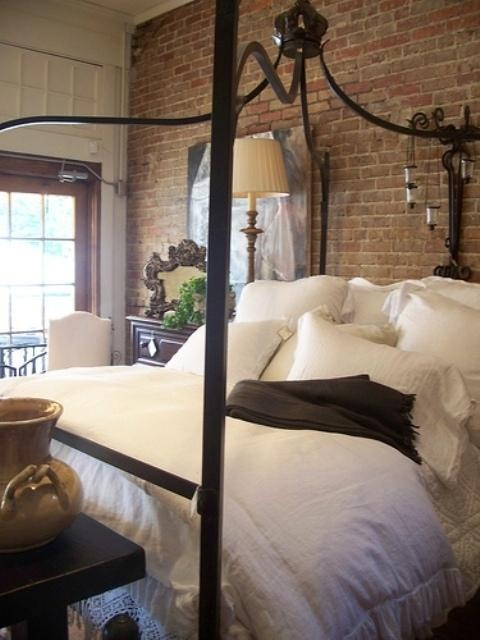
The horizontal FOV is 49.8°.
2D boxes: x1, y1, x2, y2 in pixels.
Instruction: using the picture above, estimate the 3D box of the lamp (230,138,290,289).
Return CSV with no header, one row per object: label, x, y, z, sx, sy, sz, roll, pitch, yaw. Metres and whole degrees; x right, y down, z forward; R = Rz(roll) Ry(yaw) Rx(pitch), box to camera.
lamp,0.136,-0.678,3.235,0.351,0.882,0.496,0,6,1
